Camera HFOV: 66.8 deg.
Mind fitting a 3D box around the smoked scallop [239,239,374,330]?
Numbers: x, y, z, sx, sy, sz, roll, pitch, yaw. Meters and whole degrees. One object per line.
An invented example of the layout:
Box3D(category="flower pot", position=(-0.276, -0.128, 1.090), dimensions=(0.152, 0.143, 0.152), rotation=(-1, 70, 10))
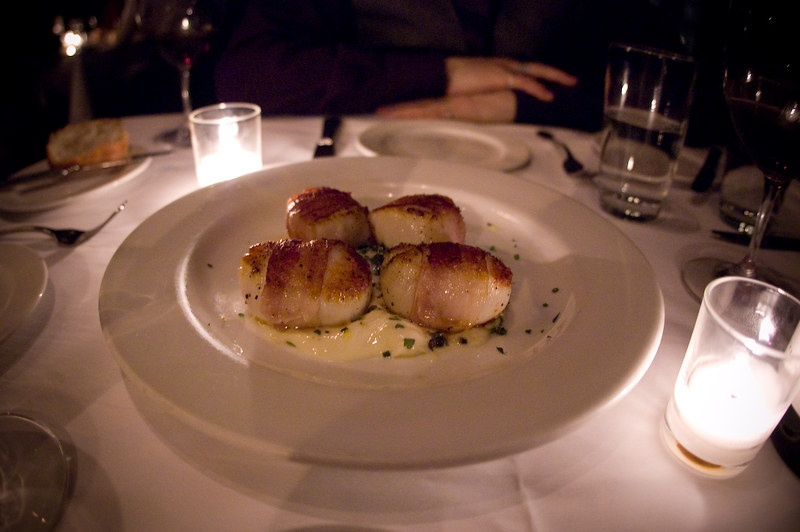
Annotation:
Box3D(category="smoked scallop", position=(-0.331, 0.031, 2.205), dimensions=(0.474, 0.171, 0.387), rotation=(8, 46, 6))

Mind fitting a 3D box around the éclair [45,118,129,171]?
Box3D(category="éclair", position=(-1.373, -0.542, 2.670), dimensions=(0.265, 0.067, 0.266), rotation=(10, 46, -2))

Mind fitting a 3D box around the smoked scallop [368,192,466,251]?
Box3D(category="smoked scallop", position=(0.074, -0.203, 2.392), dimensions=(0.337, 0.209, 0.384), rotation=(8, 14, 37))

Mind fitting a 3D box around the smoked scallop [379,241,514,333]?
Box3D(category="smoked scallop", position=(0.171, 0.045, 2.287), dimensions=(0.517, 0.252, 0.375), rotation=(7, 23, 14))

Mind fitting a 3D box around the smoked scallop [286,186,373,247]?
Box3D(category="smoked scallop", position=(-0.292, -0.201, 2.373), dimensions=(0.274, 0.146, 0.250), rotation=(-14, 34, -39))
